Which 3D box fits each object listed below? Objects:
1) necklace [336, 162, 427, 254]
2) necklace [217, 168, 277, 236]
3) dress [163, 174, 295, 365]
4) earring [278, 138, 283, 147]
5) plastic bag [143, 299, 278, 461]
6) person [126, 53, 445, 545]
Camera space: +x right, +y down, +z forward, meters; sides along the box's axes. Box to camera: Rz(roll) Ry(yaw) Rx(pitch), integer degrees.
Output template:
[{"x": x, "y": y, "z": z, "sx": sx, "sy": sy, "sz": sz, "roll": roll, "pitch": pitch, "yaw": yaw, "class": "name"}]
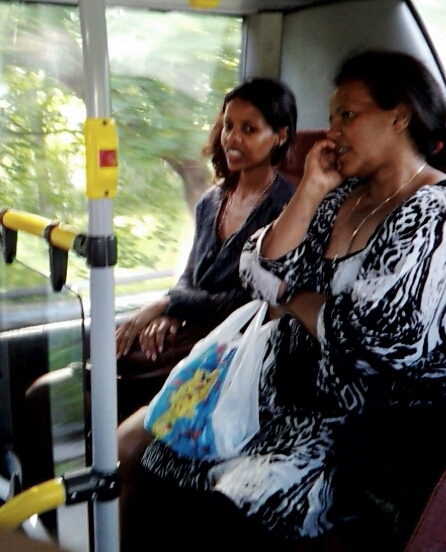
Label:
[{"x": 0.315, "y": -0.149, "z": 1.090, "sx": 0.014, "sy": 0.241, "sz": 0.065, "roll": 34, "pitch": -8, "yaw": -5, "class": "necklace"}, {"x": 0.072, "y": -0.194, "z": 1.498, "sx": 0.080, "sy": 0.259, "sz": 0.026, "roll": 32, "pitch": 7, "yaw": 21, "class": "necklace"}, {"x": 0.003, "y": -0.018, "z": 1.525, "sx": 0.351, "sy": 0.546, "sz": 0.317, "roll": 8, "pitch": 14, "yaw": 3, "class": "dress"}, {"x": 0.147, "y": -0.348, "z": 1.412, "sx": 0.011, "sy": 0.015, "sz": 0.004, "roll": 4, "pitch": 2, "yaw": -24, "class": "earring"}, {"x": 0.018, "y": 0.233, "z": 1.175, "sx": 0.217, "sy": 0.326, "sz": 0.133, "roll": 35, "pitch": 12, "yaw": 36, "class": "plastic bag"}, {"x": 0.212, "y": 0.062, "z": 1.741, "sx": 0.903, "sy": 1.596, "sz": 0.873, "roll": 6, "pitch": 2, "yaw": -15, "class": "person"}]
